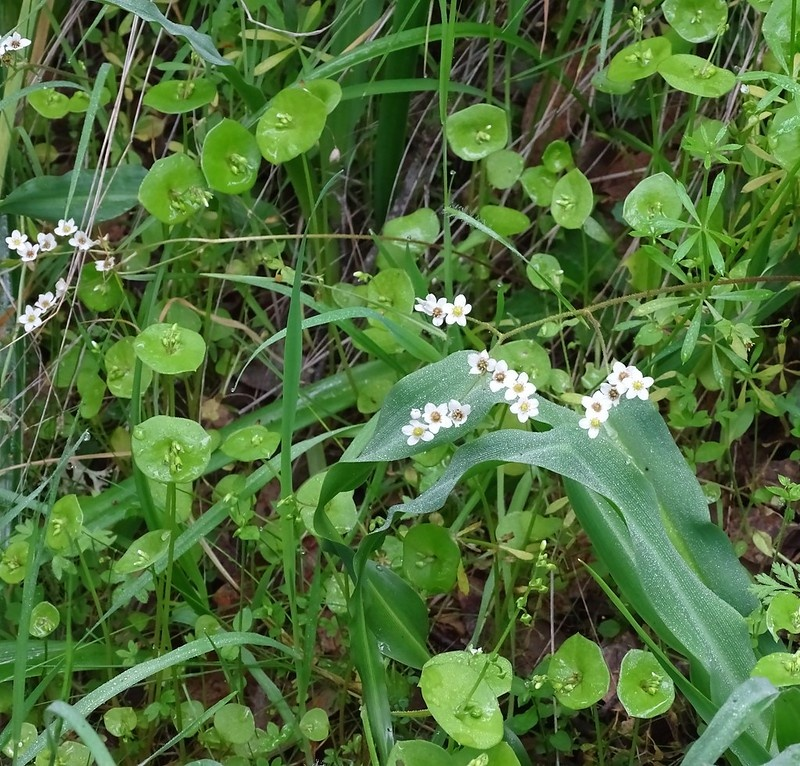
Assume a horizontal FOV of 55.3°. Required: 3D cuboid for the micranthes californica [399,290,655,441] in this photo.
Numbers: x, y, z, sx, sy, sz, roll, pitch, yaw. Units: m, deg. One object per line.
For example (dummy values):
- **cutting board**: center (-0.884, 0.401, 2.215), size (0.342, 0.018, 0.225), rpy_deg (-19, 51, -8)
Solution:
- **micranthes californica**: center (0.183, 0.004, 1.142), size (0.367, 0.243, 0.243), rpy_deg (5, 56, -8)
